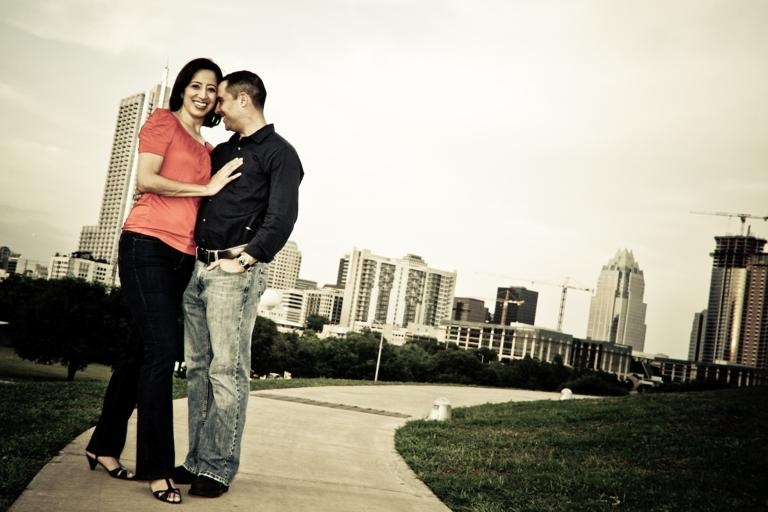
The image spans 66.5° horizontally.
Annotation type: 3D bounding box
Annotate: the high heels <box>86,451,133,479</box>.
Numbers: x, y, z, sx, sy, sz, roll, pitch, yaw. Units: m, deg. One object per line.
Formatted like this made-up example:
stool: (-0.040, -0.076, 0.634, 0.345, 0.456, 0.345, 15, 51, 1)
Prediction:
high heels: (-2.470, 1.875, 5.232, 0.345, 0.136, 0.124, 21, 8, -1)

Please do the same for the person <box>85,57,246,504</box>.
person: (-2.016, 0.088, 5.363, 0.797, 4.008, 0.774, 8, -9, -24)
